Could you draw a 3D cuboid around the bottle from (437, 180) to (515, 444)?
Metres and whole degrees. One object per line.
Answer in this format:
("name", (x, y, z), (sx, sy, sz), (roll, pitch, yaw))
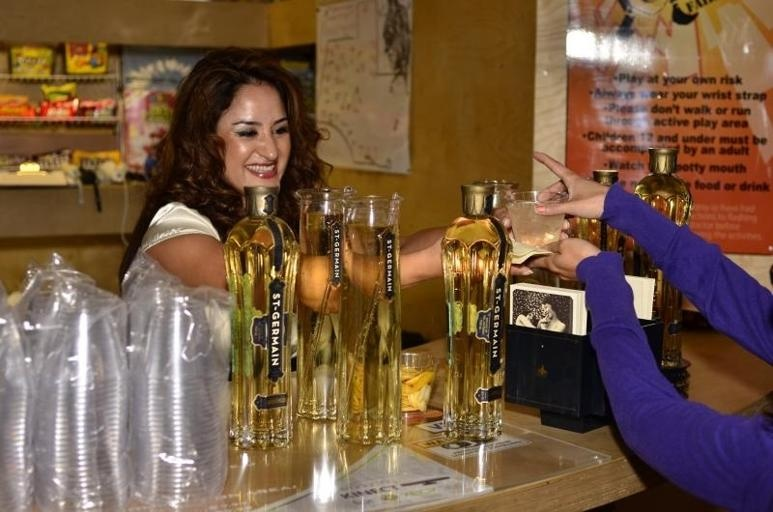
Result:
("bottle", (0.177, 0.122, 1.421), (0.146, 0.534, 0.080), (4, 11, 4))

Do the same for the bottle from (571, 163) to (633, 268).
("bottle", (0.636, -0.124, 1.951), (0.118, 0.261, 0.117), (-16, 22, 7))

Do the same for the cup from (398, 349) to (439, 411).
("cup", (0.067, 0.281, 1.560), (0.111, 0.098, 0.119), (1, -3, 0))

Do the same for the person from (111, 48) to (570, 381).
("person", (-0.144, -0.163, 2.037), (1.306, 0.850, 0.905), (1, 14, 19))

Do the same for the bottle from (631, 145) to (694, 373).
("bottle", (0.699, 0.006, 1.847), (0.173, 0.587, 0.175), (-3, 5, 0))

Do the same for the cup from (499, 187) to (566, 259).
("cup", (0.329, -0.076, 1.663), (0.155, 0.165, 0.158), (0, 1, 0))

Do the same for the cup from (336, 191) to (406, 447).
("cup", (-0.027, 0.127, 1.409), (0.136, 0.505, 0.113), (3, 11, -3))

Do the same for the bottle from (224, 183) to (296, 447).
("bottle", (-0.249, 0.125, 1.373), (0.141, 0.515, 0.118), (1, 12, -13))
